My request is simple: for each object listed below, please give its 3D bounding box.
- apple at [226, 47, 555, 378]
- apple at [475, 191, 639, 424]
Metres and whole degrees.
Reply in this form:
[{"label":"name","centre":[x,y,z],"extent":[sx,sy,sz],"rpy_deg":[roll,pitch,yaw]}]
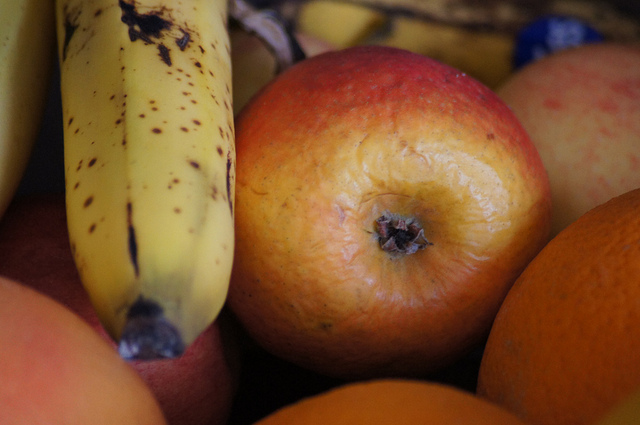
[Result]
[{"label":"apple","centre":[0.088,-0.017,1.081],"extent":[0.405,0.452,0.404],"rpy_deg":[0,10,-9]},{"label":"apple","centre":[0.305,0.123,0.821],"extent":[0.176,0.231,0.196],"rpy_deg":[10,34,16]}]
